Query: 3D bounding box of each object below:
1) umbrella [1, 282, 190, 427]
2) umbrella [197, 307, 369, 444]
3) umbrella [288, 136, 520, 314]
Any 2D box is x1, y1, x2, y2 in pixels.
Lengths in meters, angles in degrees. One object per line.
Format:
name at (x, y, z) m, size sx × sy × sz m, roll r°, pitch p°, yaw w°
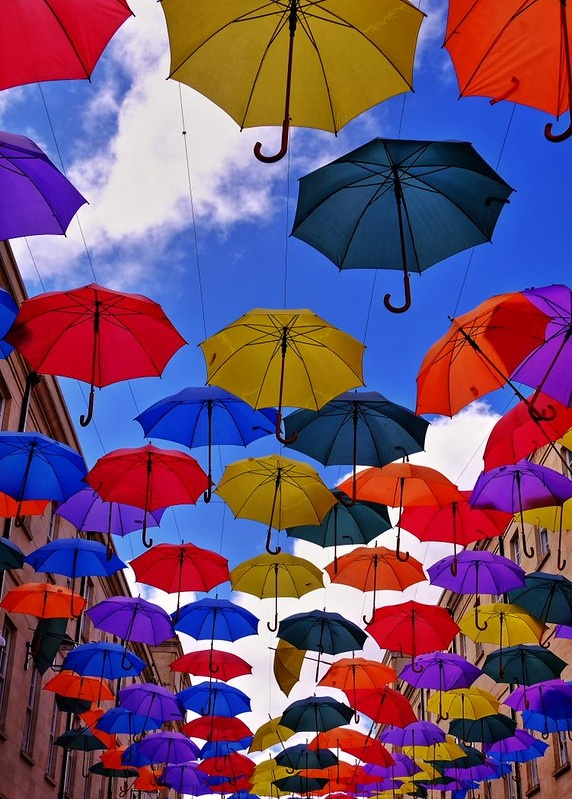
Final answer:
umbrella at (-1.980, -0.599, 10.349) m, size 1.664 × 0.642 × 1.156 m, roll 11°, pitch -38°, yaw -11°
umbrella at (-0.108, -0.207, 10.328) m, size 1.464 × 1.287 × 1.514 m, roll 7°, pitch -54°, yaw 0°
umbrella at (0.942, -1.384, 8.267) m, size 1.909 × 1.341 × 1.895 m, roll -4°, pitch -27°, yaw 6°
